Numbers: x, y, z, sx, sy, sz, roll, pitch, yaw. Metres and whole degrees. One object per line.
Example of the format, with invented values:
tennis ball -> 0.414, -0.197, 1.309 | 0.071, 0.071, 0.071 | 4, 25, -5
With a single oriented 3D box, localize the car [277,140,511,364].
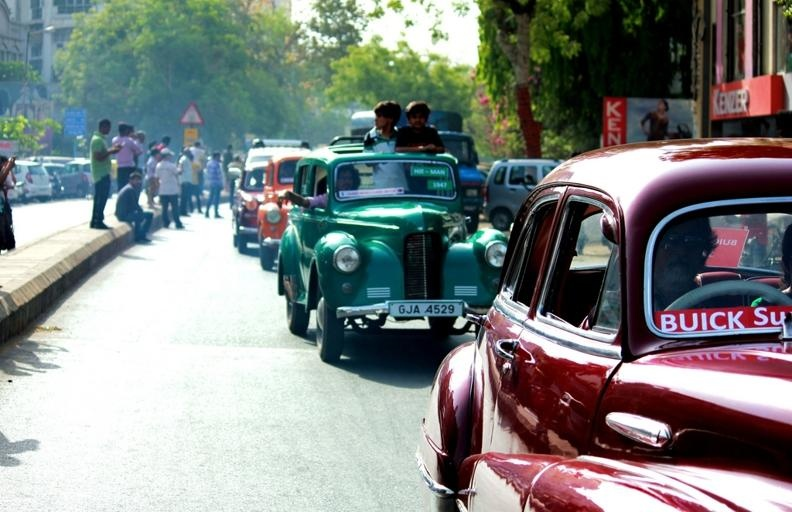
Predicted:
car -> -0.275, -0.185, 10.911 | 1.750, 1.762, 3.120 | 1, -1, -17

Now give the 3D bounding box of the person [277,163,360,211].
person -> -0.914, -0.836, 11.023 | 0.732, 0.338, 0.591 | -11, 10, -1

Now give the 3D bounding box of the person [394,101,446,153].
person -> 0.258, -1.681, 11.520 | 0.747, 0.749, 0.524 | -1, 3, -6

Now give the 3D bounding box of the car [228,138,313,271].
car -> -2.894, -1.149, 19.304 | 1.892, 1.823, 3.425 | 2, 16, -13

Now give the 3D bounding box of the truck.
truck -> 0.826, -3.175, 29.796 | 2.294, 3.168, 4.811 | -8, 16, -20
